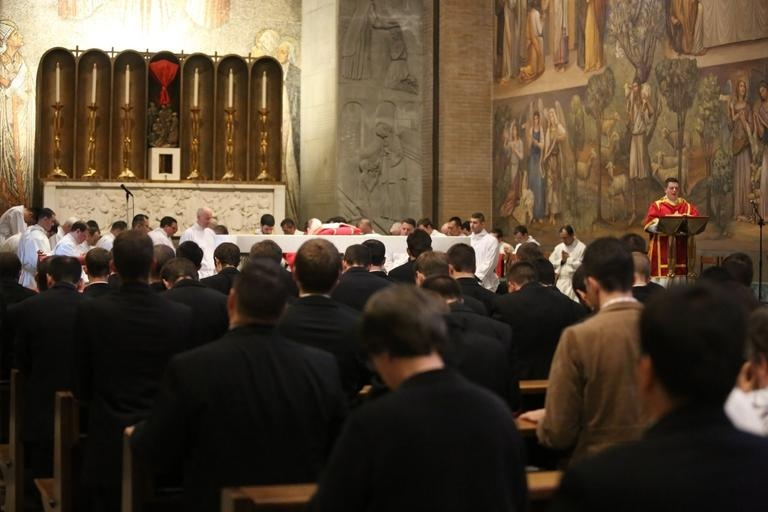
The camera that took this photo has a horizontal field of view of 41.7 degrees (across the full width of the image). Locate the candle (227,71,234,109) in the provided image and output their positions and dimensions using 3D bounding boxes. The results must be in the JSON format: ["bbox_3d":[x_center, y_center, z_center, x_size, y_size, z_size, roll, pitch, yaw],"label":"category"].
[{"bbox_3d":[-3.071,-3.375,20.037,0.116,0.764,0.321,-1,3,-1],"label":"candle"}]

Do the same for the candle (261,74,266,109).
[{"bbox_3d":[-2.393,-3.327,20.021,0.113,0.716,0.284,-1,3,-7],"label":"candle"}]

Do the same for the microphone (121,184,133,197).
[{"bbox_3d":[-4.553,-1.171,17.746,0.201,0.226,0.272,0,3,5],"label":"microphone"}]

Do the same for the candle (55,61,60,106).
[{"bbox_3d":[-6.257,-3.371,19.363,0.097,0.758,0.321,-1,3,-13],"label":"candle"}]
